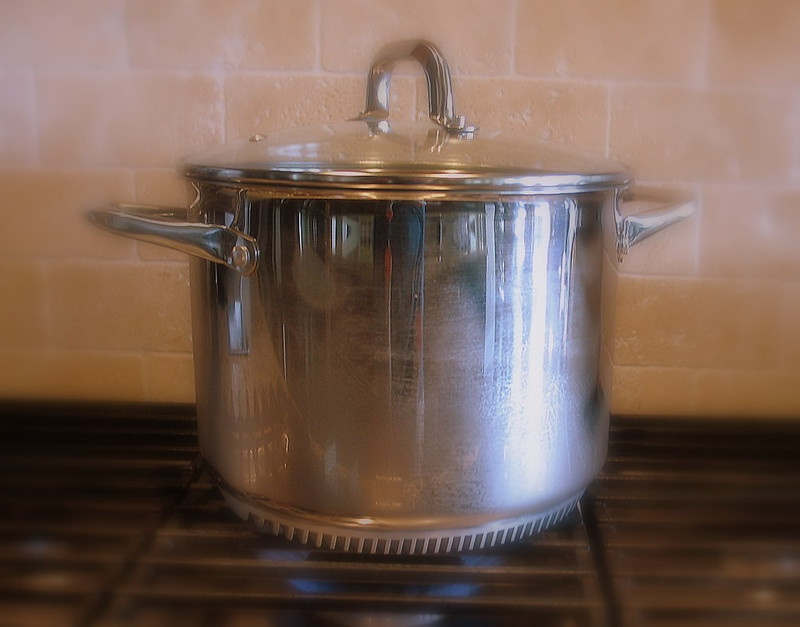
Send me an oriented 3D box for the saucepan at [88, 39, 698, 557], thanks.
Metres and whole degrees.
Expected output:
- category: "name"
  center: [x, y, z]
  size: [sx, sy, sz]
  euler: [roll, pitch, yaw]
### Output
- category: "saucepan"
  center: [0.009, -0.022, 1.093]
  size: [0.624, 0.450, 0.416]
  euler: [-3, 11, -19]
